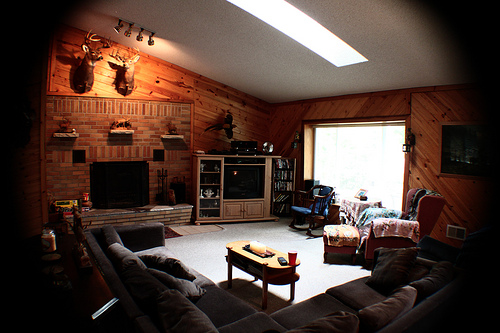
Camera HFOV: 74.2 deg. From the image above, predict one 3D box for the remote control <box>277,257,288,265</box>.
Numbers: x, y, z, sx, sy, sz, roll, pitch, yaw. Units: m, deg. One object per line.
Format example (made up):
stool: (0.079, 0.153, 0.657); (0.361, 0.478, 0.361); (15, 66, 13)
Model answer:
remote control: (0.426, 1.215, 4.247); (0.055, 0.028, 0.125); (0, 9, -12)

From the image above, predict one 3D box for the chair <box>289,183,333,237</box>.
chair: (1.386, 0.928, 7.164); (0.868, 1.011, 0.823); (6, 1, -11)

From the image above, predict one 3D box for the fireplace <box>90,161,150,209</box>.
fireplace: (-2.725, 0.368, 7.170); (1.568, 1.181, 0.871); (1, -1, -32)

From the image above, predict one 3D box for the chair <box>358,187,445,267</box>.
chair: (2.368, 0.982, 5.505); (1.227, 1.111, 1.070); (3, 7, 15)

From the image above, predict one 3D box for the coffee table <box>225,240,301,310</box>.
coffee table: (0.151, 1.457, 4.566); (0.586, 0.568, 1.175); (-2, 6, -39)

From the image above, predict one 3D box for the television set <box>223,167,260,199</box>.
television set: (-0.238, 0.363, 7.790); (1.033, 0.787, 0.540); (1, -2, -21)

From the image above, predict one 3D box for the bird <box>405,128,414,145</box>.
bird: (2.918, -0.563, 6.036); (0.138, 0.286, 0.114); (7, 11, 28)

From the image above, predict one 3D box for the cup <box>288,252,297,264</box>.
cup: (0.524, 1.173, 4.246); (0.140, 0.136, 0.132); (-1, 1, 0)

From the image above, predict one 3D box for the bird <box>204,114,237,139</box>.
bird: (-0.680, -0.969, 7.979); (0.646, 0.599, 0.325); (1, 10, -5)
